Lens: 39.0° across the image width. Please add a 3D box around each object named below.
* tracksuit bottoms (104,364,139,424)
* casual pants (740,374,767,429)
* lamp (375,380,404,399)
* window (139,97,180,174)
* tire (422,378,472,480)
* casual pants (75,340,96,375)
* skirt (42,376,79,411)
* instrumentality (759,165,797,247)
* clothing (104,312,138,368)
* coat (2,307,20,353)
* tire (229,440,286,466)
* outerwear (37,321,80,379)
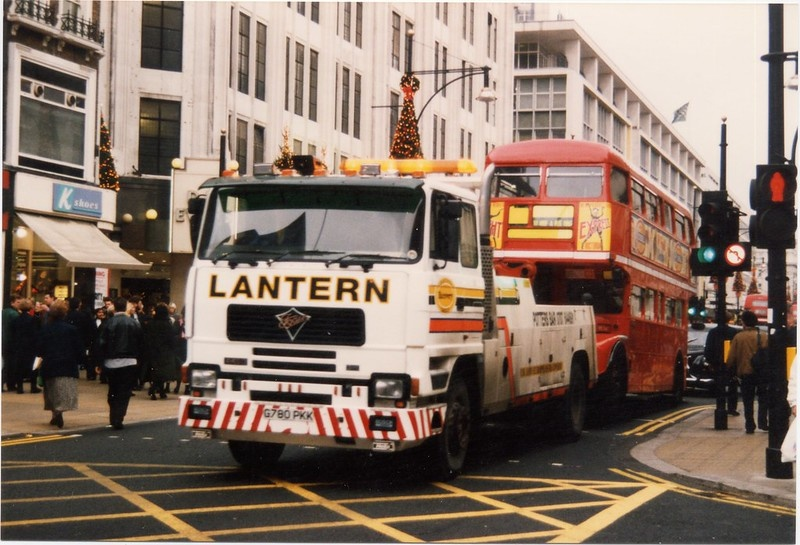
[{"bbox_3d":[-5.184,2.265,20.913,0.519,1.139,0.439,-2,6,-35],"label":"tracksuit bottoms"},{"bbox_3d":[7.064,2.534,22.441,0.500,1.180,0.358,-4,6,-3],"label":"casual pants"},{"bbox_3d":[-0.180,1.675,16.277,0.478,0.340,0.262,0,-4,3],"label":"lamp"},{"bbox_3d":[-8.265,-4.640,38.630,1.436,2.578,0.624,0,5,-16],"label":"window"},{"bbox_3d":[0.665,2.344,16.993,0.481,1.459,1.281,1,-17,22],"label":"tire"},{"bbox_3d":[-7.264,2.016,26.162,0.383,1.277,0.314,2,-47,-18],"label":"casual pants"},{"bbox_3d":[-6.284,2.254,20.766,0.600,0.761,0.613,4,-15,-36],"label":"skirt"},{"bbox_3d":[5.900,-1.038,17.675,0.640,1.314,0.221,3,5,16],"label":"instrumentality"},{"bbox_3d":[-5.191,1.261,20.940,0.709,0.979,0.497,0,5,-15],"label":"clothing"},{"bbox_3d":[-8.944,1.286,25.697,0.199,0.831,0.823,7,-5,-28],"label":"coat"},{"bbox_3d":[-2.299,2.955,17.802,0.588,0.424,0.604,-4,-11,32],"label":"tire"},{"bbox_3d":[-6.344,1.485,20.986,0.812,1.088,0.622,-1,-12,-17],"label":"outerwear"}]
